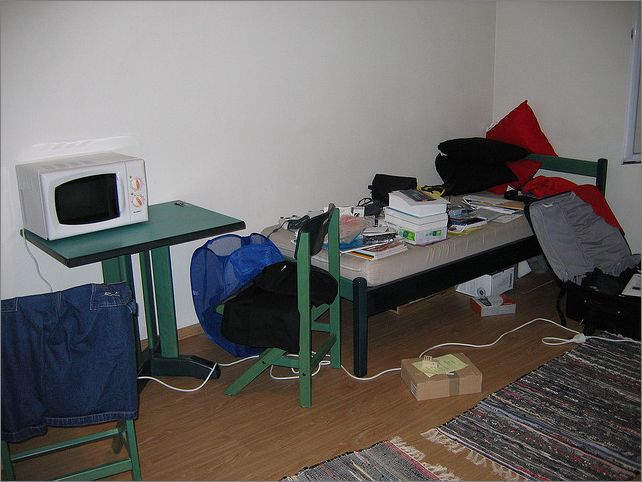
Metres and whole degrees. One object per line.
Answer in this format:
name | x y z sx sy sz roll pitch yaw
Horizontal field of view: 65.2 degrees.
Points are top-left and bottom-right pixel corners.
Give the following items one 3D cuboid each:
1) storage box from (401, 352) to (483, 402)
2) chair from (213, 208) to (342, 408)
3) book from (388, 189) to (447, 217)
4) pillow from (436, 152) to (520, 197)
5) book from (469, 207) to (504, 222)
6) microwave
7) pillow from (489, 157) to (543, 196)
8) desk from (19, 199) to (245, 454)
storage box | 0.693 0.765 2.867 0.326 0.108 0.243 -3 20 -9
chair | -0.167 0.362 2.856 0.484 1.044 0.758 5 17 38
book | 0.594 -0.256 3.231 0.224 0.079 0.221 -13 27 -39
pillow | 1.357 -0.578 4.320 0.409 0.132 0.443 -13 47 -13
book | 1.231 -0.199 3.722 0.136 0.035 0.145 -14 23 -29
microwave | -1.284 -0.276 2.683 0.468 0.420 0.614 17 24 41
pillow | 1.709 -0.559 4.405 0.330 0.102 0.347 2 49 39
desk | -0.987 0.187 3.157 0.965 1.301 1.398 21 31 37
